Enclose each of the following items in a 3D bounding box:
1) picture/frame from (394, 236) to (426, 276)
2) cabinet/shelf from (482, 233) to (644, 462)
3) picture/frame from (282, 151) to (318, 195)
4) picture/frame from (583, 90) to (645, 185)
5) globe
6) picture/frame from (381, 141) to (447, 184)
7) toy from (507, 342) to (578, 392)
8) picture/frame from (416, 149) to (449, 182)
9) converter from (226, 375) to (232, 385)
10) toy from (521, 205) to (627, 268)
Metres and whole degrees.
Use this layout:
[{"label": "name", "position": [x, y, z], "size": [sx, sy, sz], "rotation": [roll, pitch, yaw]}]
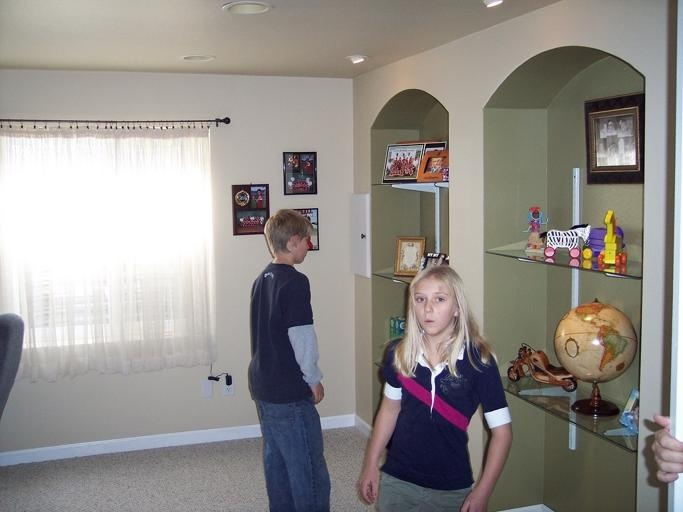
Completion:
[{"label": "picture/frame", "position": [0.550, 0.007, 4.269], "size": [0.291, 0.364, 0.035], "rotation": [5, -8, 42]}, {"label": "cabinet/shelf", "position": [1.258, 0.482, 3.010], "size": [0.445, 1.097, 1.421], "rotation": [0, 2, -11]}, {"label": "picture/frame", "position": [-0.400, -0.765, 4.851], "size": [0.365, 0.453, 0.030], "rotation": [-1, 7, -17]}, {"label": "picture/frame", "position": [1.557, -0.665, 3.051], "size": [0.026, 0.503, 0.407], "rotation": [-3, 7, -21]}, {"label": "globe", "position": [1.344, 0.537, 2.823], "size": [0.399, 0.603, 0.405], "rotation": [4, -5, -28]}, {"label": "picture/frame", "position": [0.573, -0.717, 4.112], "size": [0.118, 0.276, 0.398], "rotation": [3, 1, -41]}, {"label": "toy", "position": [1.193, 0.670, 3.235], "size": [0.196, 0.246, 0.422], "rotation": [-4, 16, -38]}, {"label": "picture/frame", "position": [0.679, -0.665, 3.932], "size": [0.034, 0.262, 0.255], "rotation": [16, -4, -36]}, {"label": "converter", "position": [-1.024, 1.125, 4.786], "size": [0.055, 0.103, 0.037], "rotation": [-2, 6, -16]}, {"label": "toy", "position": [1.286, -0.080, 2.911], "size": [0.457, 0.318, 0.255], "rotation": [0, 2, 37]}]
